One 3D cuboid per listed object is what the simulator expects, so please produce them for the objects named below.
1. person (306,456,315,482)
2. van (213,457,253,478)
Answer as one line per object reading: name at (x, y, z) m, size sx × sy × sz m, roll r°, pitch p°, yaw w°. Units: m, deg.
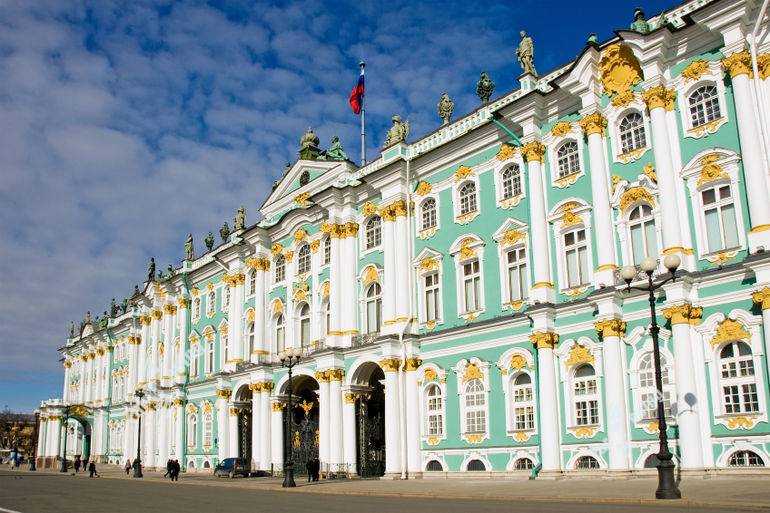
person at (-4.308, 12.537, 51.203) m, size 0.406 × 1.248 × 0.940 m, roll 2°, pitch -23°, yaw -8°
van at (-10.370, 14.283, 59.285) m, size 1.422 × 0.912 × 2.389 m, roll 15°, pitch -20°, yaw -37°
